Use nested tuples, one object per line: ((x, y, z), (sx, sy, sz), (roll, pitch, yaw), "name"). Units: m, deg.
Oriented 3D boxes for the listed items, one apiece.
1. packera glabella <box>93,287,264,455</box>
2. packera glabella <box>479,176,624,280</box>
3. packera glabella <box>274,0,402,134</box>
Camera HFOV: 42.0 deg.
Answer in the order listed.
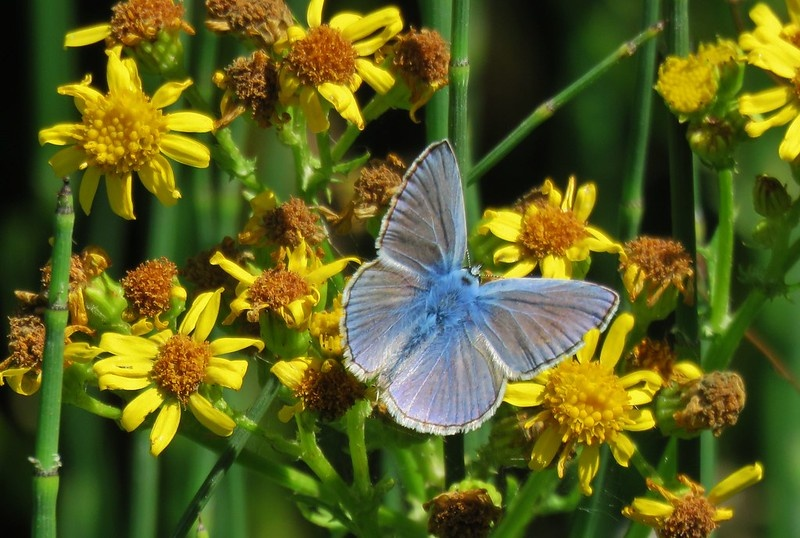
((-0.458, 0.208, 2.279), (0.324, 0.092, 0.369), (-26, 84, -3), "packera glabella")
((0.344, -0.055, 2.382), (0.348, 0.452, 0.146), (-2, 79, -1), "packera glabella")
((-0.130, -0.432, 2.265), (0.263, 0.138, 0.224), (-1, 48, 3), "packera glabella")
